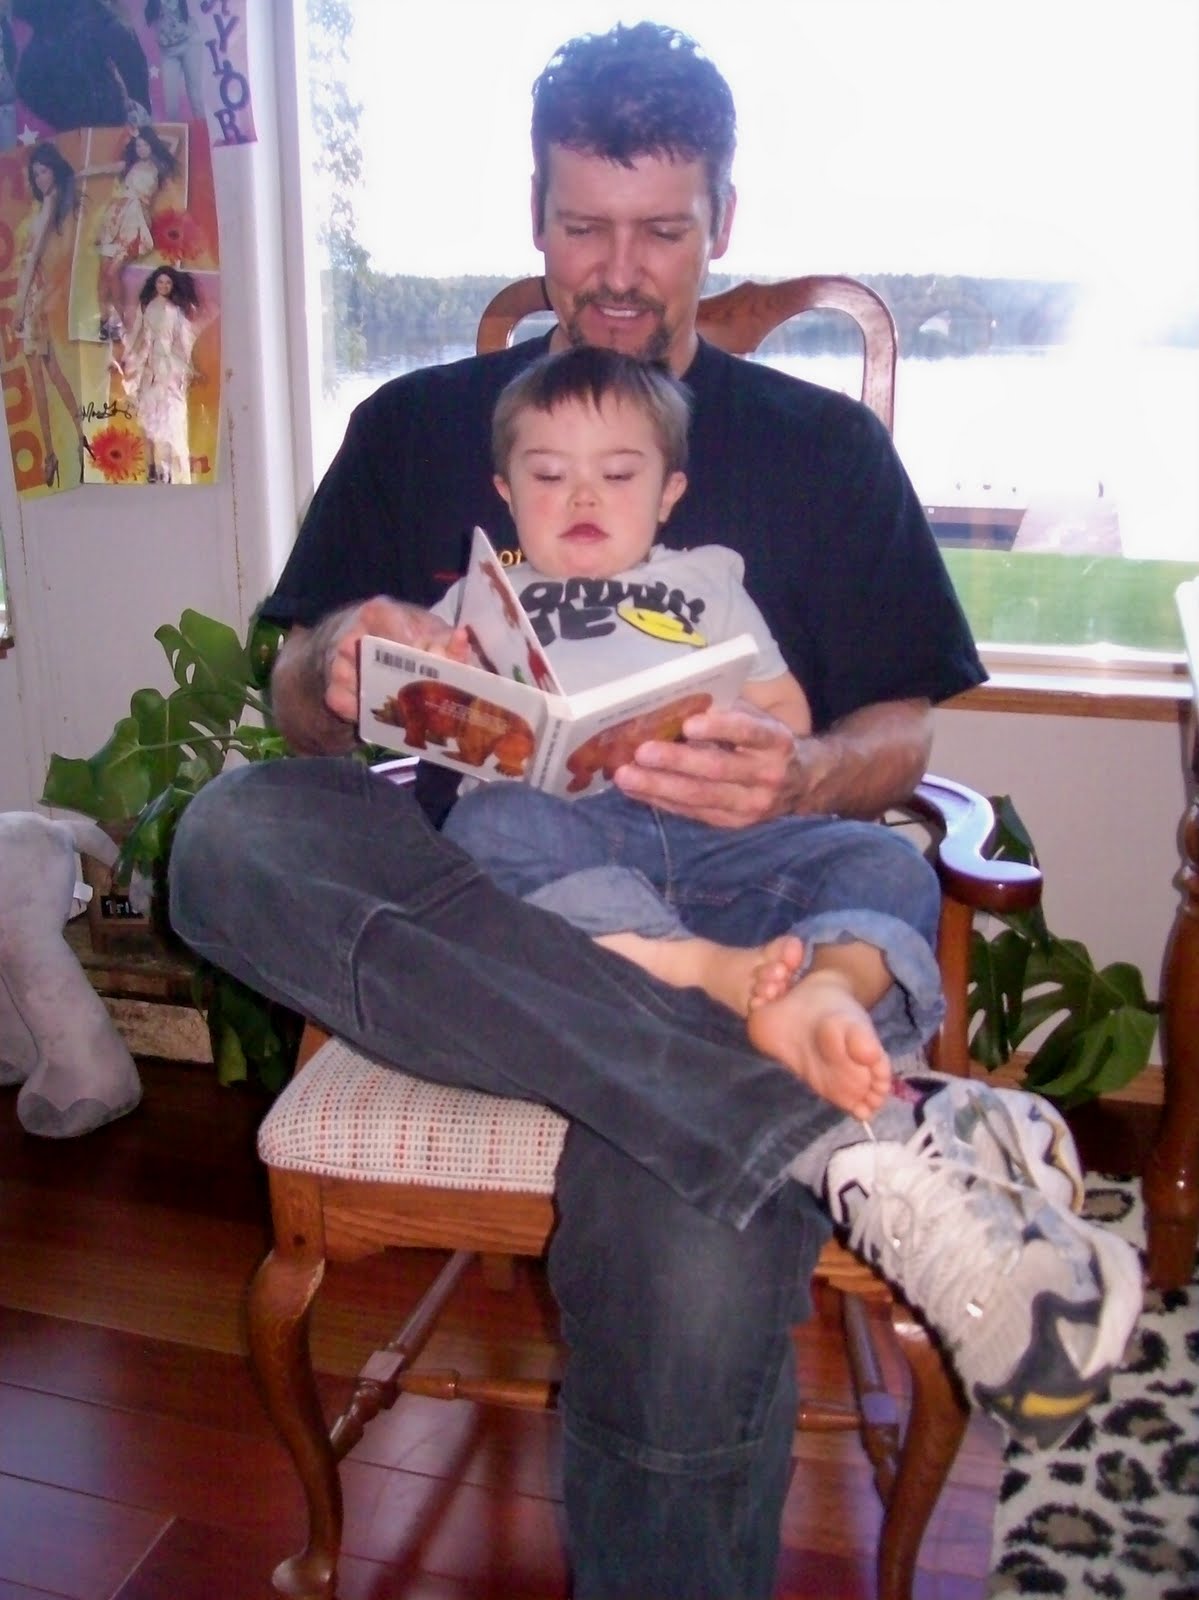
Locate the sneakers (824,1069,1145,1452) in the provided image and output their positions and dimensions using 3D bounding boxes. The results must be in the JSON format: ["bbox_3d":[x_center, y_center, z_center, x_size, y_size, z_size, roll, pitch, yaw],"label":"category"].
[{"bbox_3d":[0.226,0.258,0.854,0.127,0.131,0.282,21,20,-17],"label":"sneakers"}]
